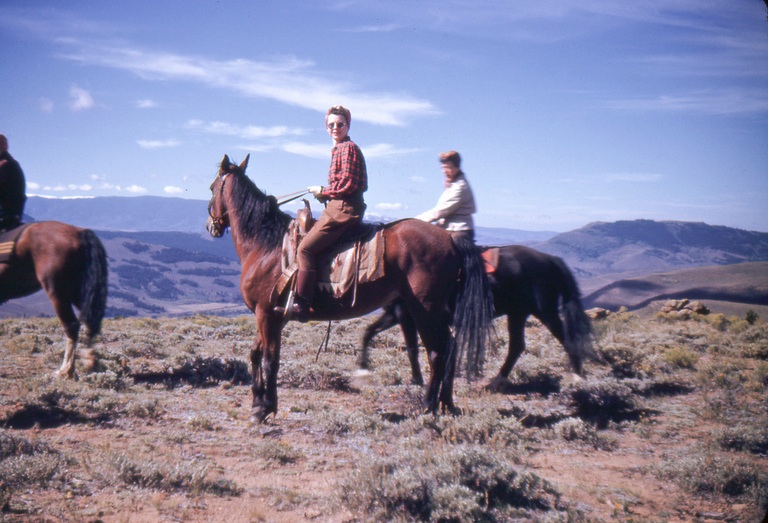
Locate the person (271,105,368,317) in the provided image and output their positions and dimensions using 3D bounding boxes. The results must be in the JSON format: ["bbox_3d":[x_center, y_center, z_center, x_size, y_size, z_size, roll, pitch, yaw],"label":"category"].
[{"bbox_3d":[-1.026,-0.909,13.034,1.339,3.881,0.527,1,6,-6],"label":"person"}]

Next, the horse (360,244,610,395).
[{"bbox_3d":[1.692,0.841,14.474,6.028,3.456,1.336,-1,-8,-26],"label":"horse"}]
